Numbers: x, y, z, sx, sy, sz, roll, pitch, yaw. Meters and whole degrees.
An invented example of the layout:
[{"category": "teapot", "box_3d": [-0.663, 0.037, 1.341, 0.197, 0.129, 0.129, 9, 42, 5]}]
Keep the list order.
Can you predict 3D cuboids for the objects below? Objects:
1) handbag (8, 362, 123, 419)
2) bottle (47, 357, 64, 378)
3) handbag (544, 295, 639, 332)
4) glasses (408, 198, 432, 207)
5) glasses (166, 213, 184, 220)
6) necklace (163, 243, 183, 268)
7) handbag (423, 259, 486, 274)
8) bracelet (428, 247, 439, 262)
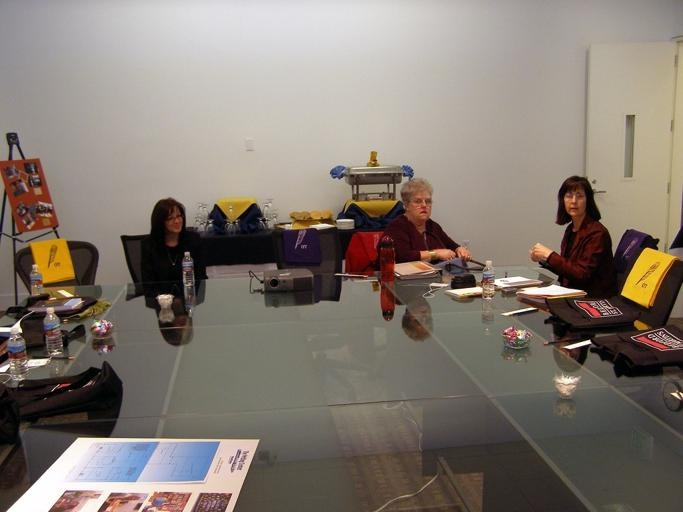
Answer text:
[{"category": "handbag", "box_3d": [-0.899, 0.452, 1.571, 0.248, 0.078, 0.198, -2, 11, -17]}, {"category": "bottle", "box_3d": [-1.073, 0.423, 1.813, 0.057, 0.087, 0.056, -2, -9, 0]}, {"category": "handbag", "box_3d": [1.084, 0.244, 2.032, 0.218, 0.044, 0.188, -4, 11, -10]}, {"category": "glasses", "box_3d": [0.569, -0.379, 3.416, 0.153, 0.074, 0.078, -6, 14, -1]}, {"category": "glasses", "box_3d": [-1.125, -0.268, 3.283, 0.035, 0.055, 0.124, 8, 19, 42]}, {"category": "necklace", "box_3d": [-1.162, 0.003, 3.309, 0.102, 0.146, 0.039, -2, -16, -15]}, {"category": "handbag", "box_3d": [0.783, 0.063, 3.139, 0.181, 0.050, 0.171, -5, 11, -25]}, {"category": "bracelet", "box_3d": [0.636, 0.002, 3.303, 0.070, 0.072, 0.057, -2, 4, 0]}]
